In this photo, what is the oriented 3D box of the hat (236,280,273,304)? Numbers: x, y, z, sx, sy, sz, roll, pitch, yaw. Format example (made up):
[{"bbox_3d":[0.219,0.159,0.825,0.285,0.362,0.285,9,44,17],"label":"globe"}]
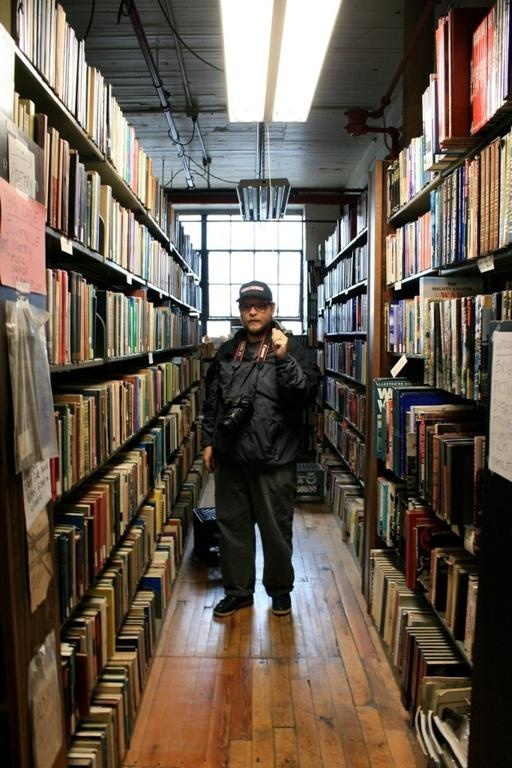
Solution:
[{"bbox_3d":[-0.001,-0.434,2.549,0.155,0.118,0.188,0,2,-11],"label":"hat"}]

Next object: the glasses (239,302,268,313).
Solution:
[{"bbox_3d":[-0.007,-0.361,2.535,0.134,0.039,0.059,0,2,10],"label":"glasses"}]

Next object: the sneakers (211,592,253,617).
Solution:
[{"bbox_3d":[-0.114,1.051,2.623,0.210,0.121,0.072,4,-4,-42],"label":"sneakers"}]

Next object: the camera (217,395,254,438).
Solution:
[{"bbox_3d":[-0.087,0.148,2.368,0.070,0.180,0.135,33,-32,-29],"label":"camera"}]
